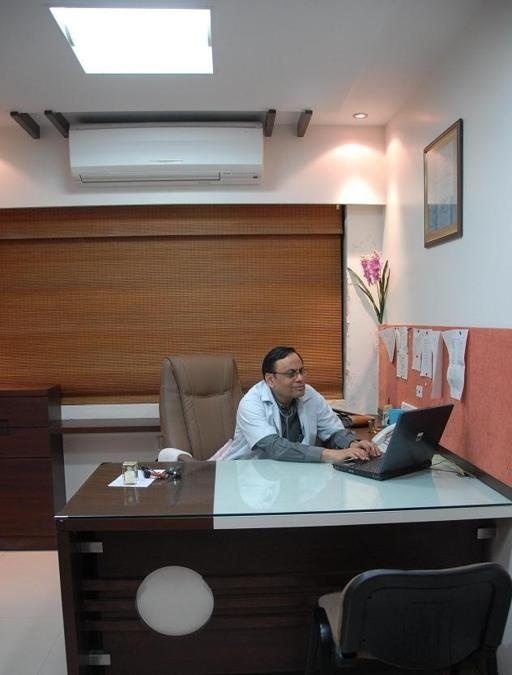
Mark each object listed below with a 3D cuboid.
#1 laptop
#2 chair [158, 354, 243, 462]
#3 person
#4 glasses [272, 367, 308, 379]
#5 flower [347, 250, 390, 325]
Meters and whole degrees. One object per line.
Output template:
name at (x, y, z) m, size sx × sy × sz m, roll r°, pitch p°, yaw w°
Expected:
laptop at (0.510, 0.374, 2.023) m, size 0.370 × 0.244 × 0.348 m, roll 0°, pitch -2°, yaw -31°
chair at (-0.373, 0.411, 3.169) m, size 0.486 × 0.700 × 0.531 m, roll 4°, pitch -14°, yaw -23°
person at (0.171, 0.353, 2.441) m, size 0.829 × 0.570 × 0.489 m, roll -4°, pitch -3°, yaw 42°
glasses at (0.146, 0.154, 2.370) m, size 0.147 × 0.044 × 0.083 m, roll -4°, pitch 6°, yaw -7°
flower at (0.696, -0.307, 3.377) m, size 0.227 × 0.456 × 0.289 m, roll -3°, pitch 6°, yaw 2°
